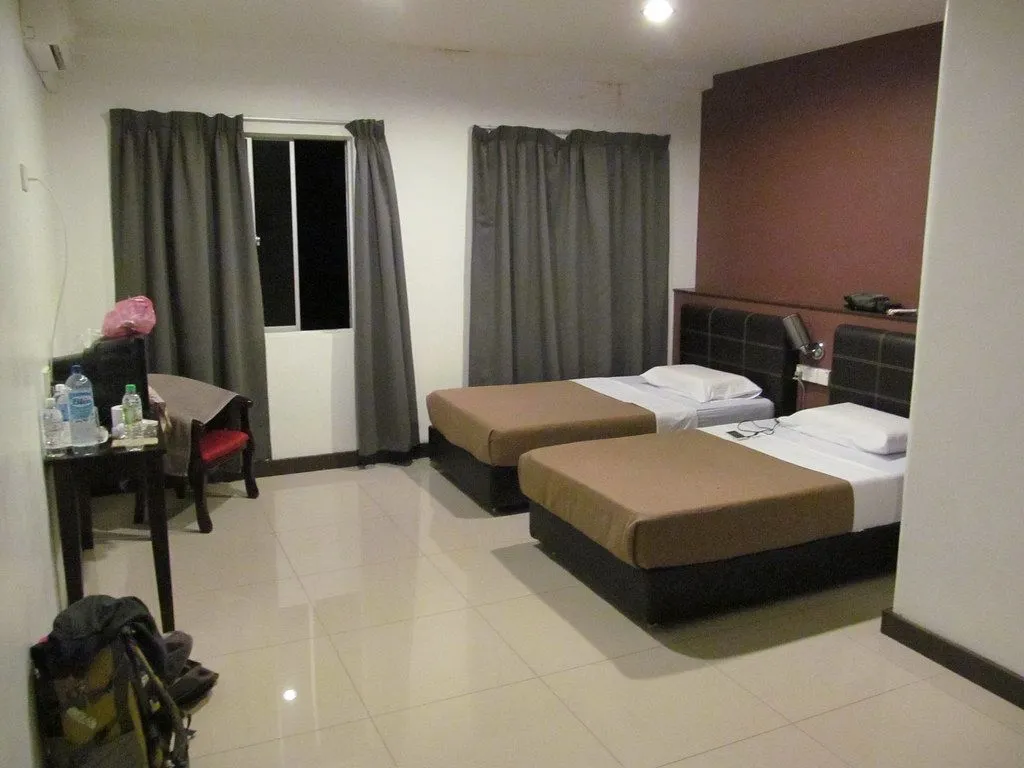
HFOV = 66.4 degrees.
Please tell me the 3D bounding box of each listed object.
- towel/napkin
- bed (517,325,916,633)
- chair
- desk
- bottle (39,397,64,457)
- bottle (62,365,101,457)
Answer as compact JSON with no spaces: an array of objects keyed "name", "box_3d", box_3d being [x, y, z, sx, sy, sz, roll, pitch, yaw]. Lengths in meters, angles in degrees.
[{"name":"towel/napkin","box_3d":[-2.222,0.280,5.428,0.634,0.732,0.627,4,10,15]},{"name":"bed","box_3d":[1.441,0.481,4.821,2.400,1.440,1.414,-5,10,-25]},{"name":"chair","box_3d":[-2.228,0.421,5.469,0.660,0.969,0.732,5,11,13]},{"name":"desk","box_3d":[-2.109,0.683,4.228,0.655,1.010,0.860,2,24,-13]},{"name":"bottle","box_3d":[-2.225,0.203,3.772,0.095,0.250,0.144,-10,13,-28]},{"name":"bottle","box_3d":[-2.126,0.113,3.838,0.136,0.401,0.205,-10,13,-29]}]
